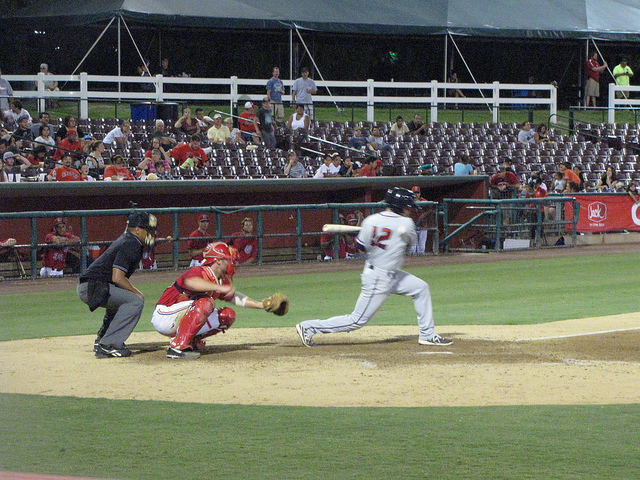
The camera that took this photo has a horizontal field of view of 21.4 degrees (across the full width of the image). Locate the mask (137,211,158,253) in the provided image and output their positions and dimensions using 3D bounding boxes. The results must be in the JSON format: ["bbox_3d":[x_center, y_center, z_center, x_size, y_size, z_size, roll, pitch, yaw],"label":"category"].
[{"bbox_3d":[-3.620,-0.155,35.140,0.385,0.829,0.400,0,2,-7],"label":"mask"}]

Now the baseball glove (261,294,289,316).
[{"bbox_3d":[-0.940,1.334,34.877,0.444,0.376,0.241,1,37,-5],"label":"baseball glove"}]

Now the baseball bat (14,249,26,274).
[{"bbox_3d":[-7.208,0.491,40.445,0.045,0.613,0.062,-27,10,4],"label":"baseball bat"}]

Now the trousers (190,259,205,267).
[{"bbox_3d":[-2.909,0.530,39.666,0.264,0.252,0.211,-3,4,-8],"label":"trousers"}]

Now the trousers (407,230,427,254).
[{"bbox_3d":[2.270,0.032,40.660,0.493,0.861,0.455,1,10,7],"label":"trousers"}]

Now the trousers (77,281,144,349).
[{"bbox_3d":[-4.357,1.586,35.453,1.259,1.683,1.219,9,-22,-10],"label":"trousers"}]

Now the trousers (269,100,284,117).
[{"bbox_3d":[-1.324,-3.820,49.671,0.353,0.495,1.082,0,2,-1],"label":"trousers"}]

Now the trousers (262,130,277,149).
[{"bbox_3d":[-1.443,-2.732,46.810,0.426,0.477,0.148,-2,3,-35],"label":"trousers"}]

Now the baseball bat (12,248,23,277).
[{"bbox_3d":[-7.271,0.513,40.430,0.077,0.697,0.060,-21,9,7],"label":"baseball bat"}]

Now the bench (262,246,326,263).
[{"bbox_3d":[-0.747,0.364,42.984,1.983,0.359,0.458,0,-10,-25],"label":"bench"}]

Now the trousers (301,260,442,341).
[{"bbox_3d":[1.040,1.260,35.536,3.280,1.986,1.007,3,-15,-23],"label":"trousers"}]

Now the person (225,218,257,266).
[{"bbox_3d":[-1.959,0.077,42.367,0.723,1.166,0.638,-3,11,-33],"label":"person"}]

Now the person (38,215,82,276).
[{"bbox_3d":[-6.323,0.199,40.791,0.708,1.480,0.808,11,9,40],"label":"person"}]

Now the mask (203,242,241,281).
[{"bbox_3d":[-2.121,0.425,35.352,0.814,0.814,0.687,0,4,-4],"label":"mask"}]

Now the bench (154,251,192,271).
[{"bbox_3d":[-3.672,0.527,41.857,0.698,0.492,0.167,-2,7,-10],"label":"bench"}]

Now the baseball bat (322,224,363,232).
[{"bbox_3d":[0.435,-0.246,36.246,0.855,0.173,0.184,0,42,-5],"label":"baseball bat"}]
